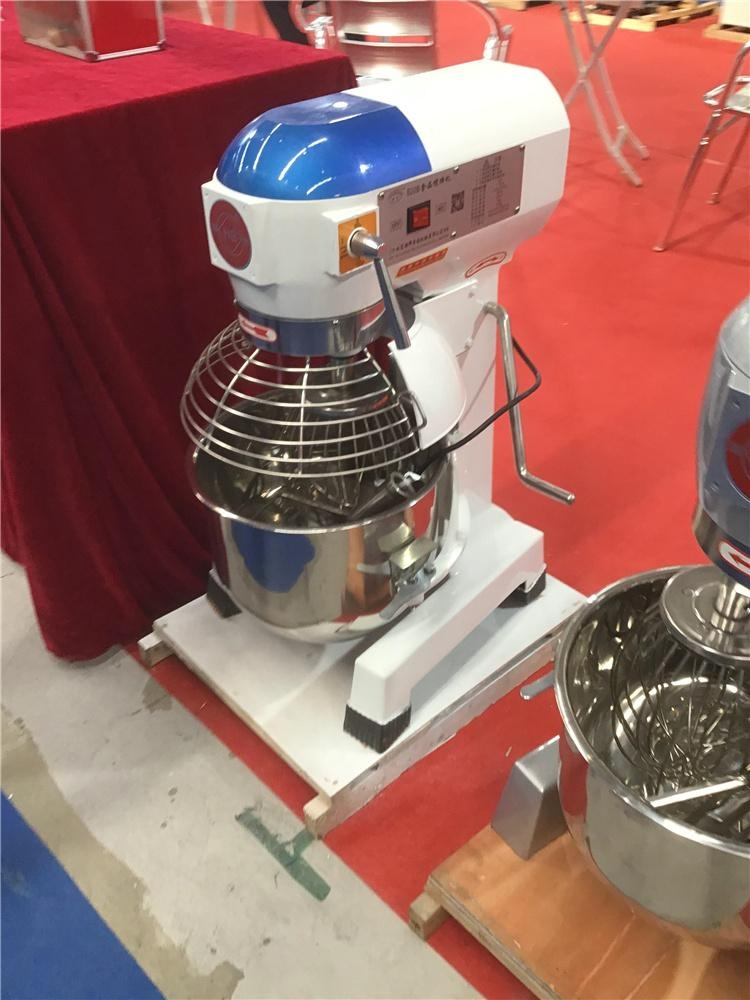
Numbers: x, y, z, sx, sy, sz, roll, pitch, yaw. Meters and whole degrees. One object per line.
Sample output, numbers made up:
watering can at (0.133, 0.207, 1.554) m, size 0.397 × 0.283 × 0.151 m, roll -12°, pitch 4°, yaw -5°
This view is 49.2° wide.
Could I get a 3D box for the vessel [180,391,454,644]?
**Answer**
vessel at (-0.053, 0.069, 1.110) m, size 0.299 × 0.206 × 0.328 m, roll 21°, pitch 37°, yaw 28°
